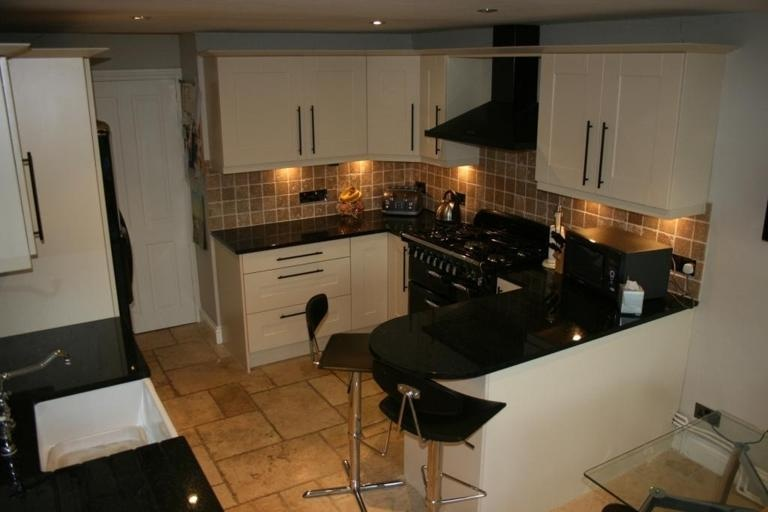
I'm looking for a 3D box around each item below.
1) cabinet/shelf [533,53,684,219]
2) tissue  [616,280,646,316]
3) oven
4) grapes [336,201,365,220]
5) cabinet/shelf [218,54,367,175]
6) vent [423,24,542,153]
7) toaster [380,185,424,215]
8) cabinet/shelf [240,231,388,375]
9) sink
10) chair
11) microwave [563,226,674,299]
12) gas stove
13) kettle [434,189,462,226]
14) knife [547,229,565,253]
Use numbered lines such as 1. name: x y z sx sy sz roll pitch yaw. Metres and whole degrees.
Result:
1. cabinet/shelf: 1.682 -0.918 4.242 0.473 1.078 1.160 -17 25 -29
2. tissue : 1.675 0.296 3.990 0.137 0.181 0.102 3 10 1
3. oven: 0.568 0.227 4.626 0.257 0.505 0.517 -7 18 -26
4. grapes: -0.347 -0.475 6.028 0.208 0.130 0.227 0 13 -1
5. cabinet/shelf: -0.858 -1.364 5.602 1.445 1.001 0.431 -12 23 -33
6. vent: 0.933 -1.346 4.743 0.945 0.797 0.933 -15 26 -29
7. toaster: 0.181 -0.580 6.110 0.407 0.266 0.220 2 20 14
8. cabinet/shelf: -0.689 0.391 5.174 1.214 0.888 0.436 -8 14 -28
9. sink: -1.646 1.037 3.479 0.649 0.214 0.513 -12 30 -29
10. chair: 0.155 1.042 3.959 0.659 1.001 1.184 -15 23 -36
11. microwave: 1.667 0.050 4.247 0.455 0.439 0.630 -11 21 -21
12. gas stove: 0.838 -0.082 5.004 0.424 0.120 0.778 -14 24 -33
13. kettle: 0.667 -0.465 5.739 0.358 0.344 0.248 2 8 -31
14. knife: 1.347 -0.116 4.585 0.111 0.204 0.117 18 34 34
